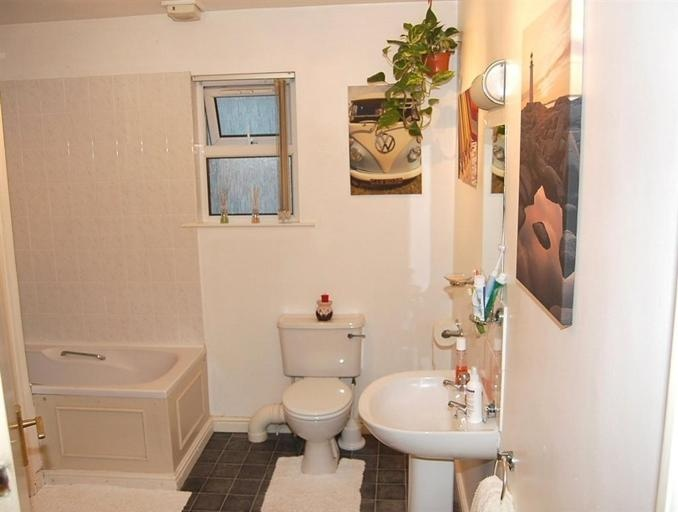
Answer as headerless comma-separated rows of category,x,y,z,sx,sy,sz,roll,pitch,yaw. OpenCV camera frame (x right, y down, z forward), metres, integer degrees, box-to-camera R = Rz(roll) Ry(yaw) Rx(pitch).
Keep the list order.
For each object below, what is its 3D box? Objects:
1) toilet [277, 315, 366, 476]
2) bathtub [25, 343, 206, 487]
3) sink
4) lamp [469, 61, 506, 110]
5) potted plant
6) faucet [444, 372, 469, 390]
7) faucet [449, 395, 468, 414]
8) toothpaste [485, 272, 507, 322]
toilet,-0.119,0.846,3.641,0.518,0.840,0.720,0,13,3
bathtub,-1.273,0.626,3.574,0.681,0.570,1.215,0,6,-6
sink,0.348,0.684,2.608,0.534,0.176,0.571,-2,13,-3
lamp,0.560,-0.643,2.275,0.114,0.174,0.184,1,14,7
potted plant,0.405,-1.009,3.271,0.475,0.753,0.710,2,14,10
faucet,0.505,0.542,2.606,0.104,0.050,0.061,-3,-1,-8
faucet,0.505,0.629,2.563,0.047,0.054,0.143,-1,3,-11
toothpaste,0.566,0.158,2.230,0.048,0.152,0.045,6,9,7
